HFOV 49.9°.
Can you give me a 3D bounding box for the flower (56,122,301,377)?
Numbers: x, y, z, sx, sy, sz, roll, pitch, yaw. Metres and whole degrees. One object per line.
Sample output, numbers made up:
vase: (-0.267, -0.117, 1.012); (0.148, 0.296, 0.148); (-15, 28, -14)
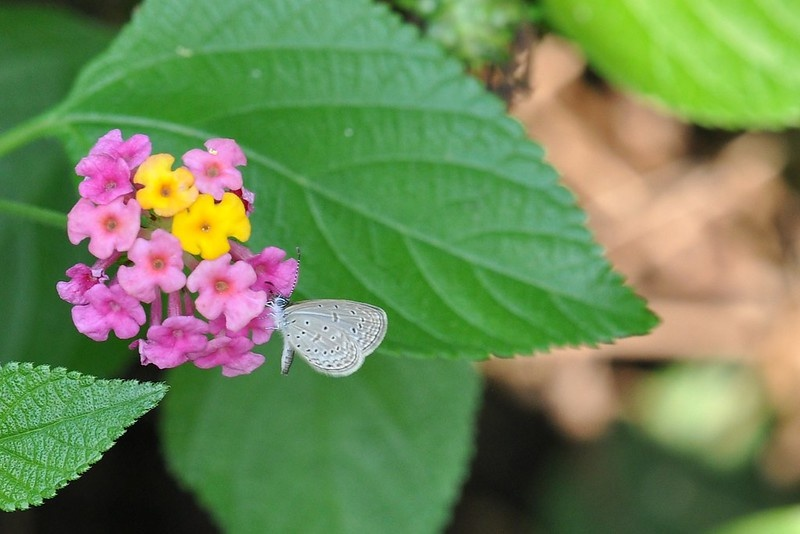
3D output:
flower: (-0.415, -0.026, 1.514); (0.436, 0.161, 0.452); (-10, 93, -5)
